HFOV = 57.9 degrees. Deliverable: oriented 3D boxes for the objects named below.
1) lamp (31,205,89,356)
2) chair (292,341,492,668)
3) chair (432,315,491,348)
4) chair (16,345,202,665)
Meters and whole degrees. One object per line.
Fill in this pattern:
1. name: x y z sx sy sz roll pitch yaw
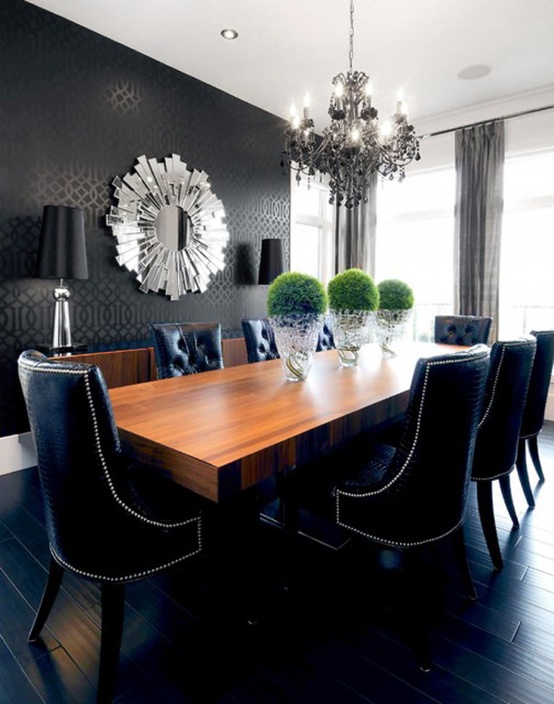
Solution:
1. lamp: -1.221 -0.401 2.831 0.254 0.797 0.384 -3 8 -27
2. chair: 0.367 0.382 1.570 0.447 0.867 0.489 -16 21 -42
3. chair: 1.304 -0.142 3.544 0.251 0.356 0.251 1 0 -44
4. chair: -0.433 0.402 1.316 0.392 0.759 0.426 9 6 38
